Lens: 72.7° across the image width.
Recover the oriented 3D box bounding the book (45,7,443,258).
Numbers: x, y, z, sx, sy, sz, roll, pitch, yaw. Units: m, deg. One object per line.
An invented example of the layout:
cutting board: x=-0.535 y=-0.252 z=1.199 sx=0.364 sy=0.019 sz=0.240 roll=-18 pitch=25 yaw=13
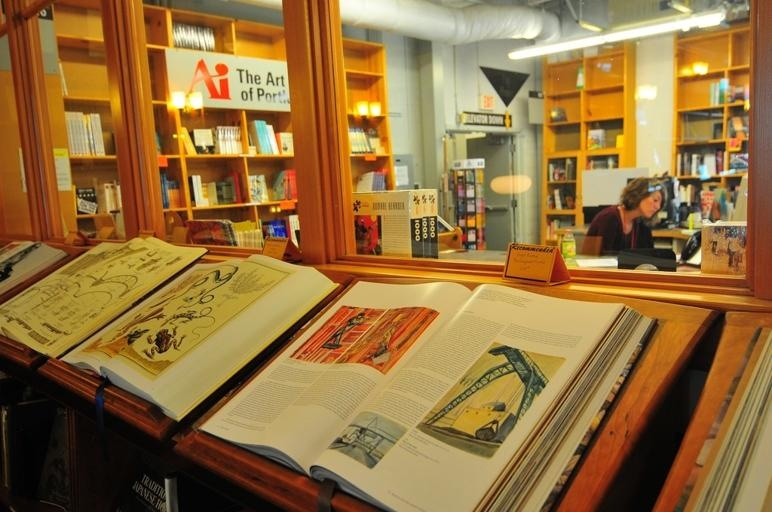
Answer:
book: x=-0.523 y=-0.488 z=2.024 sx=1.256 sy=0.840 sz=0.130 roll=0 pitch=-4 yaw=-35

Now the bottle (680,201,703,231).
bottle: x=0.722 y=-0.094 z=1.246 sx=0.043 sy=0.058 sz=0.022 roll=4 pitch=-3 yaw=39
